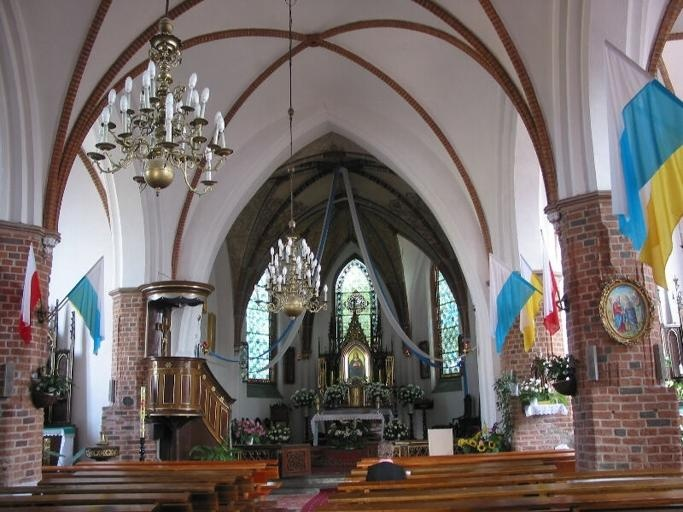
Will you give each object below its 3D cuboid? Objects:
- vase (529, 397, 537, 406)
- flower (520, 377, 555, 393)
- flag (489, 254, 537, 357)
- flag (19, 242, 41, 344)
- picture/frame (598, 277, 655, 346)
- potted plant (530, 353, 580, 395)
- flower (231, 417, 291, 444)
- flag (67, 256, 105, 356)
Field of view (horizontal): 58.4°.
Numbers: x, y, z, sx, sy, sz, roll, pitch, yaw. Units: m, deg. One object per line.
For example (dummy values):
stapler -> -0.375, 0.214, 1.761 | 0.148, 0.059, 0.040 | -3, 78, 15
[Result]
vase -> 3.505, 2.643, 11.157 | 0.107, 0.122, 0.073 | 14, -20, -1
flower -> 3.607, 2.400, 11.345 | 0.489, 0.363, 0.486 | -5, -5, 35
flag -> 2.872, 0.745, 10.352 | 0.691, 1.587, 0.393 | -7, -15, 16
flag -> -4.630, 0.534, 9.131 | 0.278, 1.491, 0.384 | 5, -16, -28
picture/frame -> 3.940, 0.800, 8.447 | 0.833, 1.188, 0.089 | -1, -12, 7
potted plant -> 3.376, 1.878, 9.657 | 0.785, 0.948, 0.689 | -3, -17, 15
flower -> -2.185, 4.794, 16.546 | 1.202, 1.034, 1.724 | -5, -19, 17
flag -> -4.324, 0.832, 10.391 | 0.550, 1.680, 0.664 | 3, -16, -23
